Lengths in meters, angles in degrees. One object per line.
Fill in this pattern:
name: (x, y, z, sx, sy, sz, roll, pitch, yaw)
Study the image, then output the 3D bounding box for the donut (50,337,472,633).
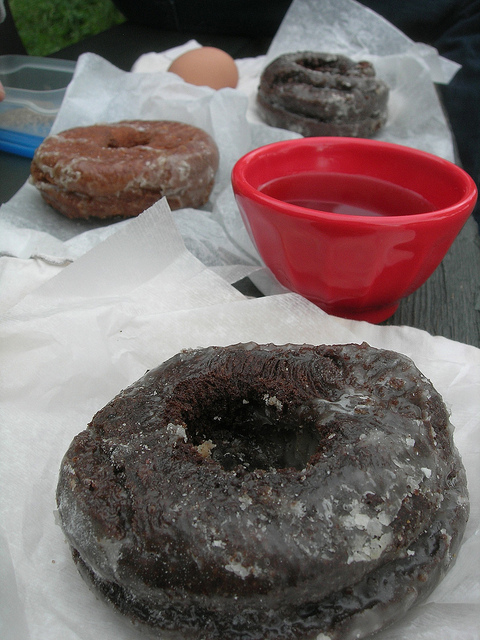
donut: (0.019, 0.137, 0.588, 0.373, 0.114, 0.289, -5, 41, -7)

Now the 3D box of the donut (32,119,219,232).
donut: (-0.179, -0.261, 1.112, 0.314, 0.093, 0.214, -9, 35, -24)

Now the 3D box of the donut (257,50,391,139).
donut: (0.145, -0.421, 1.230, 0.259, 0.130, 0.209, 15, 43, 16)

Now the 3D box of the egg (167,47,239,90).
egg: (-0.078, -0.535, 1.366, 0.147, 0.071, 0.080, -4, 43, -6)
